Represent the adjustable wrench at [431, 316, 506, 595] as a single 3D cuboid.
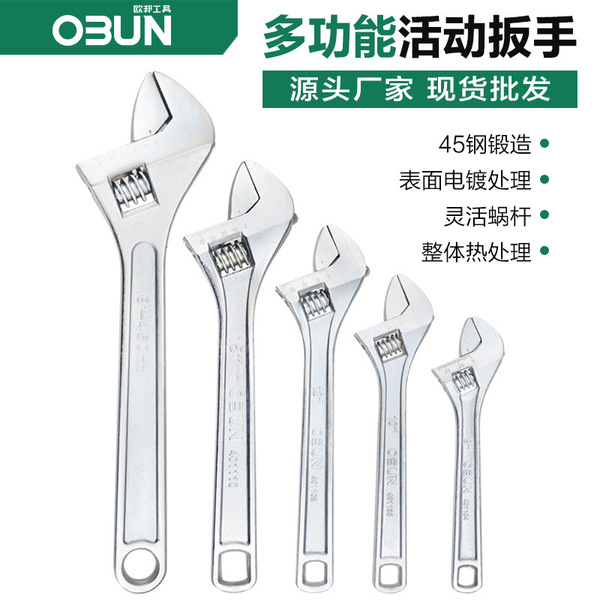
[{"bbox_3d":[0.681,0.573,2.976,0.296,1.014,0.372,-1,-1,6],"label":"adjustable wrench"}]
